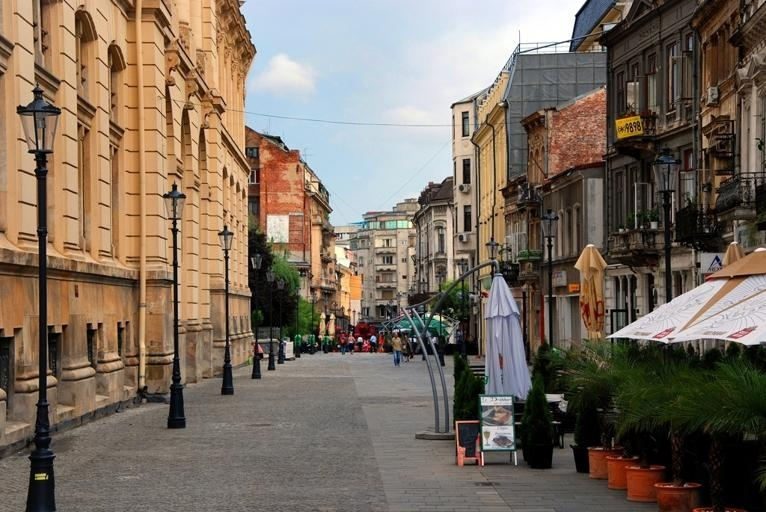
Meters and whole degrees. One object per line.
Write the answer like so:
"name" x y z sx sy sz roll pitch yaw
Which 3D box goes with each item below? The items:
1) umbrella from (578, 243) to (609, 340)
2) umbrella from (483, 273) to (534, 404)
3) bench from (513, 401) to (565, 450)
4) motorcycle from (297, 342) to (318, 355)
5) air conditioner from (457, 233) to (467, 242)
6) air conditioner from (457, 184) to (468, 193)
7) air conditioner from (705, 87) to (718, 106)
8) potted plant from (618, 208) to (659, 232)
"umbrella" 5.965 0.939 35.515 0.841 3.052 0.917 1 0 -35
"umbrella" 2.652 1.781 27.340 0.993 2.790 0.933 0 0 -13
"bench" 3.575 3.767 27.812 1.471 1.420 1.098 -1 -8 1
"motorcycle" -5.540 6.623 90.114 0.652 1.179 2.087 -2 -7 21
"air conditioner" 5.715 -1.251 89.664 0.504 0.512 0.491 0 -2 -2
"air conditioner" 5.862 -4.900 90.167 0.347 0.610 1.209 2 -11 -18
"air conditioner" 10.820 -5.225 40.770 0.415 0.764 0.784 1 -4 2
"potted plant" 9.504 -1.330 45.430 0.813 0.588 1.098 0 -4 -27
